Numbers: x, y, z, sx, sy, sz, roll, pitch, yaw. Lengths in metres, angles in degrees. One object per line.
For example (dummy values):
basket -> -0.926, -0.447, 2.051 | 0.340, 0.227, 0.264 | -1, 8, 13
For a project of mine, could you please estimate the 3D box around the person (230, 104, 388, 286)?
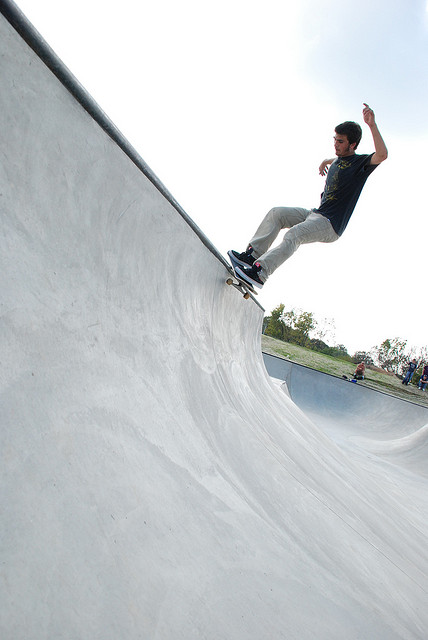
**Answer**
person -> 0.628, -0.744, 3.356 | 0.564, 1.351, 0.678 | 31, 7, 7

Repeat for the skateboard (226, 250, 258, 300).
skateboard -> 0.160, -0.289, 3.427 | 0.122, 0.170, 0.403 | 33, -4, 43

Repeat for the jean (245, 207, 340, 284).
jean -> 0.527, -0.565, 3.526 | 0.965, 0.444, 0.473 | -20, 28, -36
